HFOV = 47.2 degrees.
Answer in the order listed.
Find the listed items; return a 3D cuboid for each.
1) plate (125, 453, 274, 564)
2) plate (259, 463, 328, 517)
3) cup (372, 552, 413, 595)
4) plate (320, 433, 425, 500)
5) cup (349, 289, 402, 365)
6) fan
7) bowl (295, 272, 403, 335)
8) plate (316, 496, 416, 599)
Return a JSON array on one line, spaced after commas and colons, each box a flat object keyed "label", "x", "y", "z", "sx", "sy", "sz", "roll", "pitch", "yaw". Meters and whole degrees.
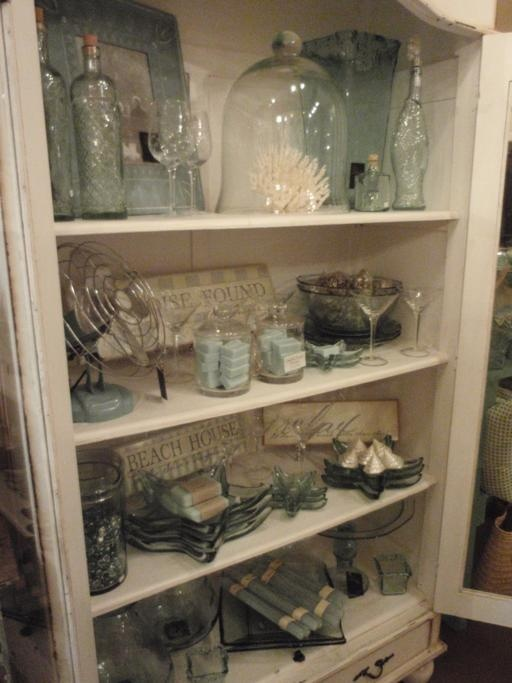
[{"label": "plate", "x": -0.120, "y": 0.341, "z": 1.312, "sx": 0.214, "sy": 0.078, "sz": 0.218, "roll": 12, "pitch": 18, "yaw": 42}, {"label": "plate", "x": 0.106, "y": 0.366, "z": 1.485, "sx": 0.105, "sy": 0.049, "sz": 0.124, "roll": 2, "pitch": 14, "yaw": 8}, {"label": "cup", "x": 0.399, "y": 0.678, "z": 1.700, "sx": 0.078, "sy": 0.069, "sz": 0.098, "roll": 0, "pitch": -2, "yaw": 4}, {"label": "plate", "x": 0.316, "y": 0.345, "z": 1.584, "sx": 0.210, "sy": 0.108, "sz": 0.253, "roll": 1, "pitch": 0, "yaw": 3}, {"label": "cup", "x": 0.297, "y": -0.034, "z": 1.470, "sx": 0.158, "sy": 0.190, "sz": 0.169, "roll": 1, "pitch": 4, "yaw": 0}, {"label": "fan", "x": -0.324, "y": -0.004, "z": 1.180, "sx": 0.229, "sy": 0.308, "sz": 0.260, "roll": -5, "pitch": 7, "yaw": 10}, {"label": "bowl", "x": 0.222, "y": -0.096, "z": 1.513, "sx": 0.202, "sy": 0.117, "sz": 0.200, "roll": 2, "pitch": 6, "yaw": 0}, {"label": "plate", "x": 0.316, "y": 0.627, "z": 1.768, "sx": 0.271, "sy": 0.172, "sz": 0.267, "roll": -14, "pitch": 11, "yaw": -11}]
